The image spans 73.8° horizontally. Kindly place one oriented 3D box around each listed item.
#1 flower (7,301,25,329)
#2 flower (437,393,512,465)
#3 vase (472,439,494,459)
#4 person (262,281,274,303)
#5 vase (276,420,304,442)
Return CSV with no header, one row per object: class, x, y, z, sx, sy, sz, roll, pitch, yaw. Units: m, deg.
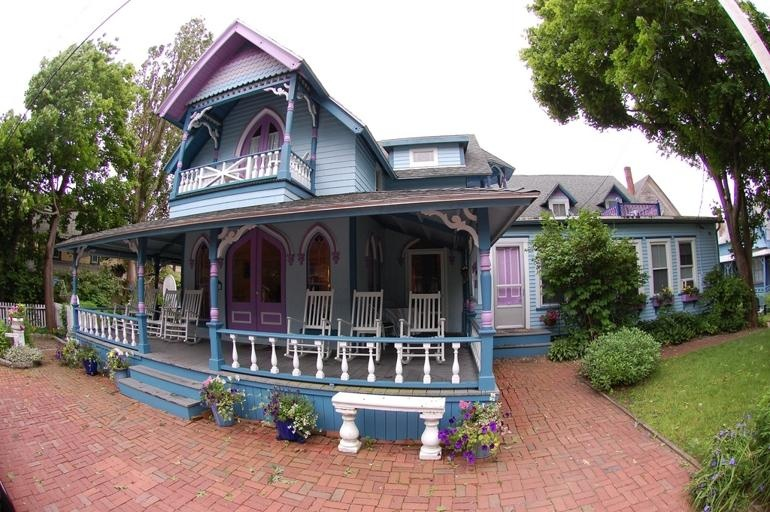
flower,-14.453,2.367,20.036,0.480,1.003,2.920,2,-7,-36
flower,2.145,4.187,12.439,1.572,1.137,1.489,6,-13,-27
vase,2.393,4.703,12.370,0.482,0.343,0.491,-7,-12,37
person,-3.932,1.193,16.993,0.527,0.747,0.606,-2,-6,-1
vase,-2.462,4.498,13.053,0.609,0.387,0.578,-10,-15,41
